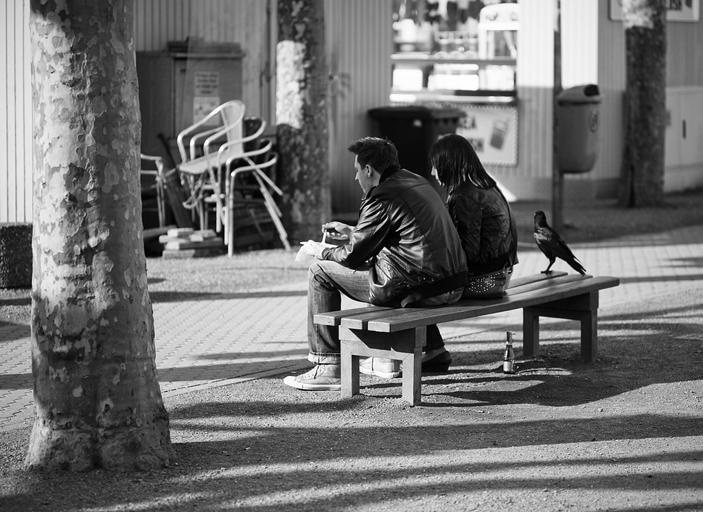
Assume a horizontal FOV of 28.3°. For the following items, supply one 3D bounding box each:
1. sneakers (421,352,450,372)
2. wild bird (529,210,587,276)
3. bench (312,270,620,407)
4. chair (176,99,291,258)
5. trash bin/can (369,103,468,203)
[{"bbox_3d":[0.700,0.905,11.652,0.140,0.113,0.249,-2,-3,41],"label":"sneakers"},{"bbox_3d":[1.798,-0.107,12.065,0.457,0.529,0.228,6,13,30],"label":"wild bird"},{"bbox_3d":[0.942,0.679,11.412,2.520,0.713,0.690,-9,14,-35],"label":"bench"},{"bbox_3d":[-1.473,-0.914,17.633,1.135,1.860,1.136,-15,29,-24],"label":"chair"},{"bbox_3d":[1.090,-1.489,19.323,1.258,2.030,1.316,-3,6,-24],"label":"trash bin/can"}]
